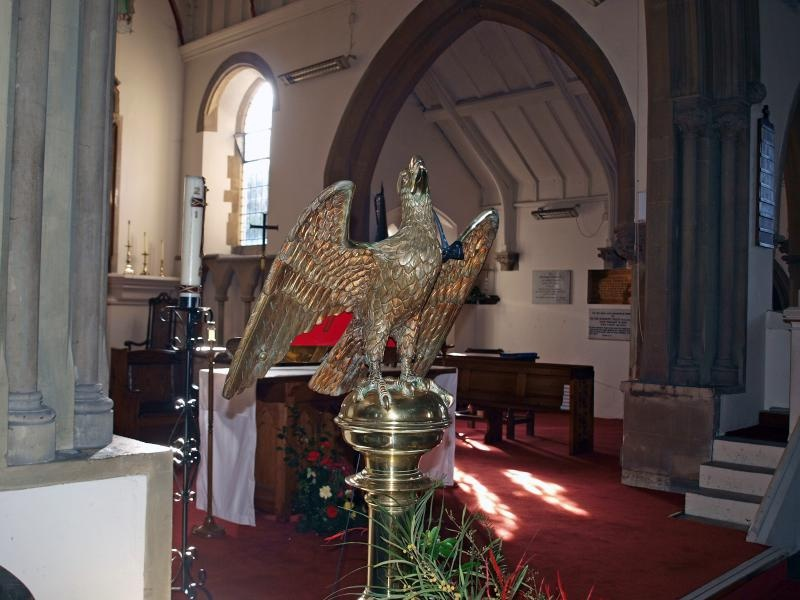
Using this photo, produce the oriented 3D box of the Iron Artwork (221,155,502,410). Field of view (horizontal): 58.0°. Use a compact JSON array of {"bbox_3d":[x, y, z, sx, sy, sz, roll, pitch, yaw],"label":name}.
[{"bbox_3d":[-0.112,-0.033,2.795,0.960,0.927,0.914,5,-9,-26],"label":"Iron Artwork"}]
